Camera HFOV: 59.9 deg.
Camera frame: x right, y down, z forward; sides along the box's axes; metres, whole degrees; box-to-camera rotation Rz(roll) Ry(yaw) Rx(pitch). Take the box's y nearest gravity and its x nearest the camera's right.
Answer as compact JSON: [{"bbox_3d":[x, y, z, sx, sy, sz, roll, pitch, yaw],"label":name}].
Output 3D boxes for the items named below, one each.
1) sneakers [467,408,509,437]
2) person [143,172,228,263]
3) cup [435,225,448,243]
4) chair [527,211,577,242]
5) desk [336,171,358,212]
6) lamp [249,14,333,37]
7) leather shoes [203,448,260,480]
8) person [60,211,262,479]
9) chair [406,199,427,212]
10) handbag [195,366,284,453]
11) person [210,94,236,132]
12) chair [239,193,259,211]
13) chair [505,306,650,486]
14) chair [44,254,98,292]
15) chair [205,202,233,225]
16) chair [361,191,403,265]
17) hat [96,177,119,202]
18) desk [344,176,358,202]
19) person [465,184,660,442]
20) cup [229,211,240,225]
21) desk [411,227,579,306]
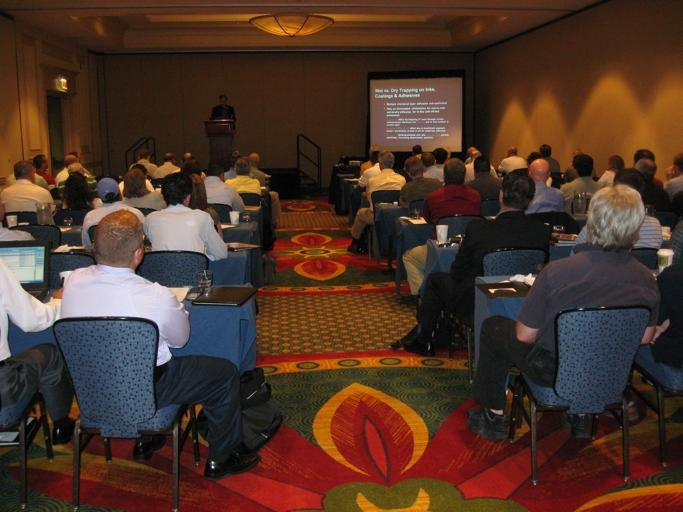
[{"bbox_3d":[0.914,1.035,3.690,0.133,0.136,0.277,-6,15,-29],"label":"sneakers"},{"bbox_3d":[-1.238,-0.297,4.667,0.671,0.740,0.501,3,11,11],"label":"person"},{"bbox_3d":[0.831,-0.199,4.926,0.120,0.201,0.124,0,12,0],"label":"cup"},{"bbox_3d":[1.657,-0.241,4.687,0.192,0.293,0.211,1,36,5],"label":"chair"},{"bbox_3d":[0.047,-1.207,11.223,0.585,0.665,0.941,1,15,-3],"label":"desk"},{"bbox_3d":[-0.974,-4.570,11.488,1.331,0.332,1.014,16,21,42],"label":"lamp"},{"bbox_3d":[-0.629,1.145,3.353,0.265,0.118,0.121,-13,18,-36],"label":"leather shoes"},{"bbox_3d":[-0.997,0.494,3.390,0.981,1.537,0.996,-1,9,-17],"label":"person"},{"bbox_3d":[0.849,-0.584,6.658,0.194,0.153,0.134,0,8,-24],"label":"chair"},{"bbox_3d":[-0.601,0.907,3.441,0.468,0.260,0.446,-11,57,-41],"label":"handbag"},{"bbox_3d":[-2.571,-3.007,12.978,0.519,1.220,0.368,-2,-23,-13],"label":"person"},{"bbox_3d":[-1.176,-0.746,7.690,0.232,0.301,0.227,0,25,-2],"label":"chair"},{"bbox_3d":[1.300,0.679,3.334,0.539,1.052,0.655,0,15,5],"label":"chair"},{"bbox_3d":[-1.961,0.067,4.214,0.192,0.252,0.367,12,6,22],"label":"chair"},{"bbox_3d":[-1.269,-0.457,6.223,0.242,0.339,0.276,2,29,-1],"label":"chair"},{"bbox_3d":[0.511,-0.398,7.752,0.669,0.978,0.672,2,9,39],"label":"chair"},{"bbox_3d":[-1.962,-0.578,5.010,0.136,0.208,0.117,-8,-21,-20],"label":"hat"},{"bbox_3d":[0.151,-1.216,10.403,0.378,0.401,0.575,0,14,-3],"label":"desk"},{"bbox_3d":[1.311,0.367,3.473,0.939,1.663,0.949,18,20,38],"label":"person"},{"bbox_3d":[-1.035,-0.396,5.903,0.085,0.131,0.137,0,2,3],"label":"cup"},{"bbox_3d":[1.061,0.060,4.014,0.559,0.300,0.579,-1,10,-4],"label":"desk"}]
